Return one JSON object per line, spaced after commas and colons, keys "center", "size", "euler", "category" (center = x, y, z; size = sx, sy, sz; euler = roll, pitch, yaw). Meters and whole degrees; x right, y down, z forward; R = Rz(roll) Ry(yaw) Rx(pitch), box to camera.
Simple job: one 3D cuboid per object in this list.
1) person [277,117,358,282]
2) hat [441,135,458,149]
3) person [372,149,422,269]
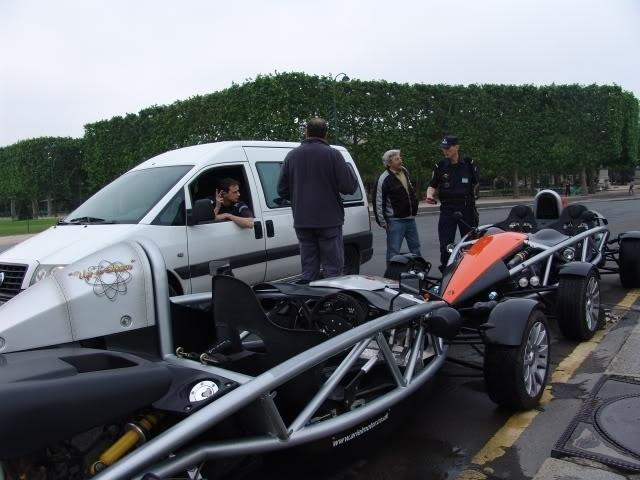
{"center": [-0.036, -0.452, 5.493], "size": [0.861, 1.827, 0.524], "euler": [-5, 6, 7], "category": "person"}
{"center": [1.900, -1.438, 7.171], "size": [0.316, 0.169, 0.186], "euler": [-15, 19, -35], "category": "hat"}
{"center": [1.147, -0.562, 7.452], "size": [0.672, 1.640, 0.859], "euler": [-5, 6, 9], "category": "person"}
